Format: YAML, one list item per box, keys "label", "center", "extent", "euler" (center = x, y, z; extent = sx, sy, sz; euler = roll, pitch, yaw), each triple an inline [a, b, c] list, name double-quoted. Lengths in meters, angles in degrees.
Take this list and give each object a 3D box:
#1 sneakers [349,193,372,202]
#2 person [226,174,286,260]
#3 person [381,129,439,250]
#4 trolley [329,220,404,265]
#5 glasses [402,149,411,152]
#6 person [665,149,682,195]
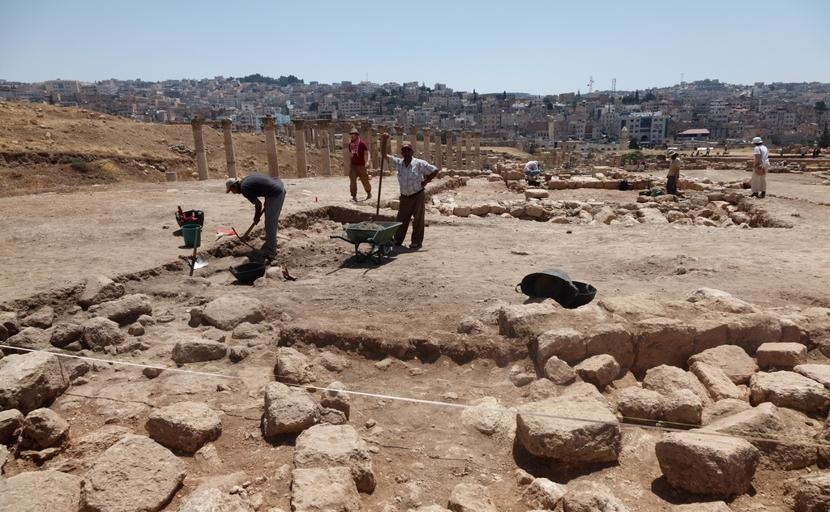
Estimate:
- label: "sneakers"
  center: [-1.455, -1.513, 16.836]
  extent: [0.695, 0.178, 0.278]
  euler: [-8, -13, 42]
- label: "person"
  center: [-2.961, -0.709, 12.102]
  extent: [0.929, 1.649, 0.457]
  euler: [-6, 18, -25]
- label: "person"
  center: [-0.042, -1.204, 13.074]
  extent: [0.934, 2.171, 0.589]
  euler: [1, 16, -1]
- label: "trolley"
  center: [-0.821, -0.234, 12.195]
  extent: [0.913, 0.601, 1.605]
  euler: [5, 12, 26]
- label: "glasses"
  center: [-0.154, -2.099, 12.675]
  extent: [0.117, 0.023, 0.093]
  euler: [2, -13, 5]
- label: "person"
  center: [7.850, -2.457, 19.221]
  extent: [0.375, 1.329, 1.387]
  euler: [8, 16, 21]
